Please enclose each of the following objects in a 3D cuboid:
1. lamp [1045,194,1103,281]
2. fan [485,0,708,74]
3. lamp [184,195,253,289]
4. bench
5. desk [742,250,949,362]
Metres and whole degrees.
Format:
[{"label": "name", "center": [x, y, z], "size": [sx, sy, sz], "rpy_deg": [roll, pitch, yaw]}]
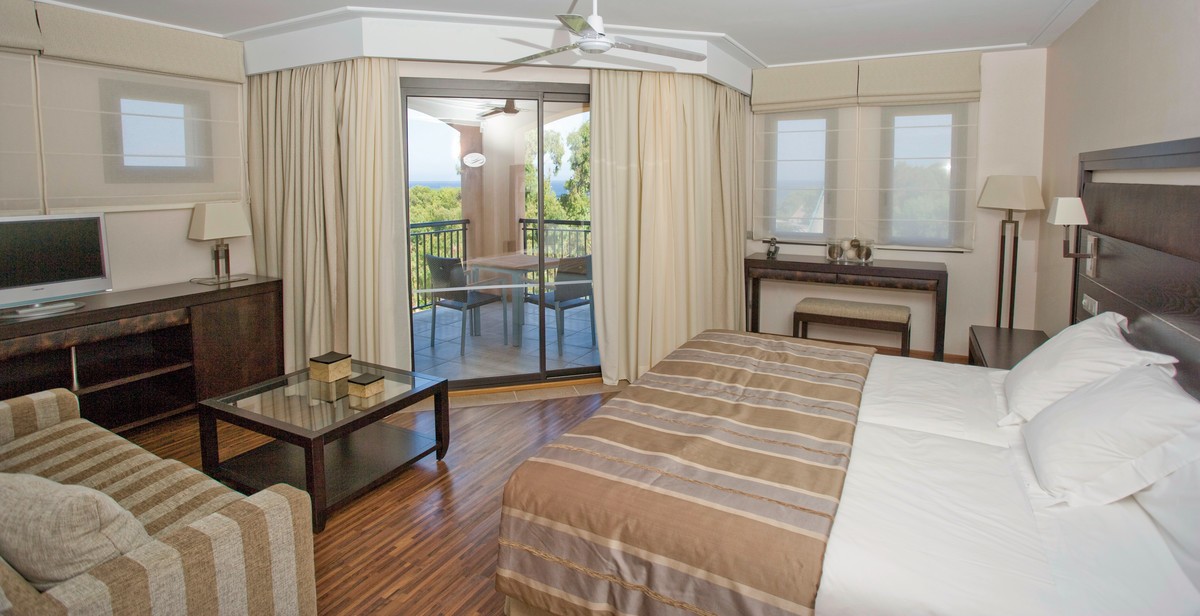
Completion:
[{"label": "lamp", "center": [4.071, -0.649, 5.973], "size": [0.288, 0.520, 0.371], "rpy_deg": [13, 4, -4]}, {"label": "fan", "center": [-0.066, -2.355, 6.406], "size": [1.169, 0.370, 1.048], "rpy_deg": [8, 12, 43]}, {"label": "lamp", "center": [-3.779, -0.656, 6.957], "size": [0.567, 0.786, 0.613], "rpy_deg": [-9, 15, -30]}, {"label": "bench", "center": [2.827, 0.230, 7.865], "size": [1.208, 0.491, 0.497], "rpy_deg": [5, 8, 23]}, {"label": "desk", "center": [2.796, -0.009, 8.157], "size": [2.242, 1.022, 0.561], "rpy_deg": [6, 15, 25]}]
